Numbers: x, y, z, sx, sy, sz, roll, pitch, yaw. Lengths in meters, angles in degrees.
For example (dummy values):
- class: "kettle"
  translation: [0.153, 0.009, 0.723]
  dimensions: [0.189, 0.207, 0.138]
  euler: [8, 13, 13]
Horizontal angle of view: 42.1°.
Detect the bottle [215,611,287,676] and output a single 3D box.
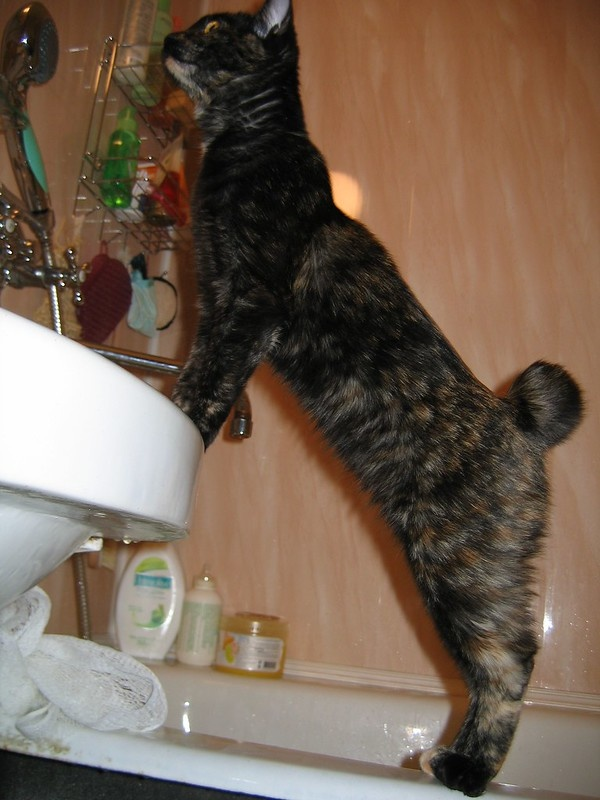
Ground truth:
- class: "bottle"
  translation: [-0.104, 0.524, 1.667]
  dimensions: [0.166, 0.135, 0.116]
  euler: [8, 77, -5]
